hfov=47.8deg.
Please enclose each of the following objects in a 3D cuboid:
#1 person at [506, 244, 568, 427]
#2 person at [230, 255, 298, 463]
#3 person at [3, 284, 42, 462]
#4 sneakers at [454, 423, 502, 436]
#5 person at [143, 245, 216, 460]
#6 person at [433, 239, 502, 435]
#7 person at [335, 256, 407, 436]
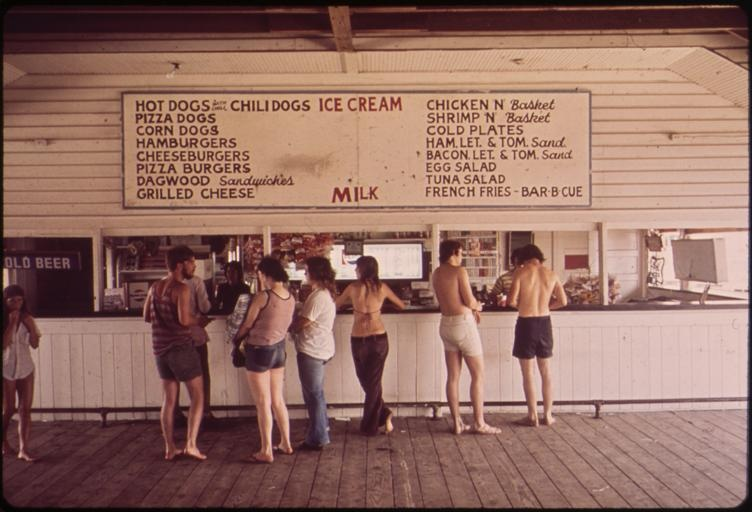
[{"bbox_3d":[2.110,1.030,11.201,0.748,2.111,0.329,-3,1,0],"label":"person"},{"bbox_3d":[-1.347,1.258,10.318,0.751,2.452,0.318,-3,1,-9],"label":"person"},{"bbox_3d":[-4.383,1.428,10.421,0.460,2.313,0.479,-3,1,-24],"label":"person"},{"bbox_3d":[1.303,2.217,10.959,0.633,0.141,0.227,-3,1,4],"label":"sneakers"},{"bbox_3d":[-2.434,1.185,10.534,0.699,2.650,0.748,-3,1,-4],"label":"person"},{"bbox_3d":[1.099,1.033,10.963,0.673,2.295,0.243,-3,1,3],"label":"person"},{"bbox_3d":[-0.092,1.140,10.921,0.714,2.173,0.335,-3,1,-2],"label":"person"}]
